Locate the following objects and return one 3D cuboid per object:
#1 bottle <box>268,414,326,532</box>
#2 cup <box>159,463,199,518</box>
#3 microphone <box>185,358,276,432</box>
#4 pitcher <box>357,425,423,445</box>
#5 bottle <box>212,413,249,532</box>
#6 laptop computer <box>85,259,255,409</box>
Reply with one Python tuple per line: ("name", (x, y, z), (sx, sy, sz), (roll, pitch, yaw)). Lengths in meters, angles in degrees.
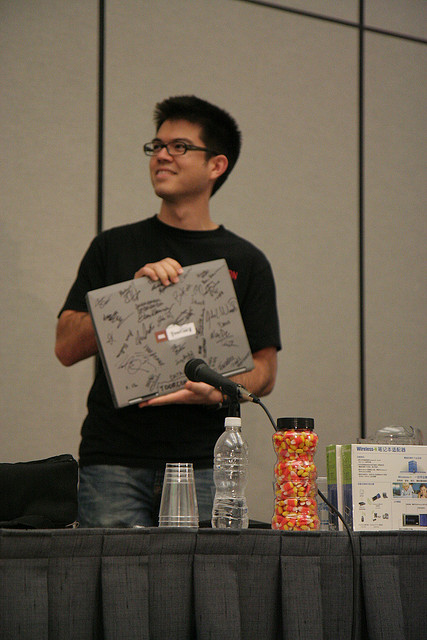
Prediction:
("bottle", (0.144, 0.277, 1.700), (0.082, 0.192, 0.112), (-1, -14, 1))
("cup", (-0.056, 0.310, 1.694), (0.086, 0.110, 0.081), (-2, -7, 0))
("microphone", (0.028, 0.144, 1.775), (0.159, 0.137, 0.190), (0, -14, -2))
("pitcher", (0.470, 0.314, 2.600), (0.200, 0.062, 0.137), (1, -5, -23))
("bottle", (0.031, 0.278, 1.730), (0.065, 0.199, 0.156), (-1, -14, 2))
("laptop computer", (-0.089, 0.028, 2.103), (0.385, 0.268, 0.048), (-13, 1, -35))
